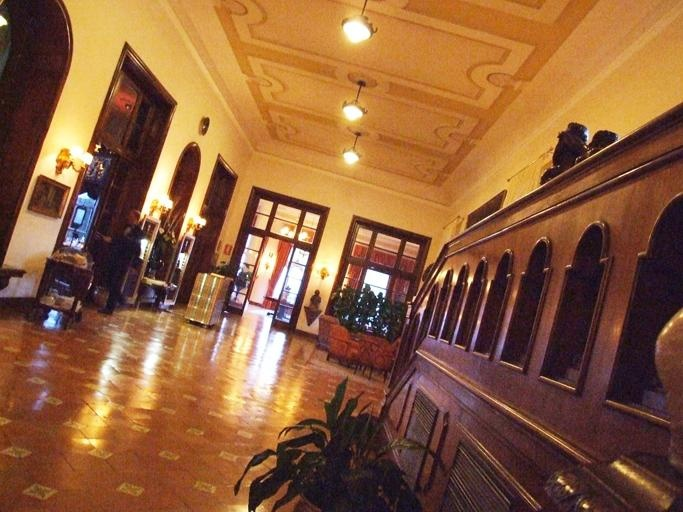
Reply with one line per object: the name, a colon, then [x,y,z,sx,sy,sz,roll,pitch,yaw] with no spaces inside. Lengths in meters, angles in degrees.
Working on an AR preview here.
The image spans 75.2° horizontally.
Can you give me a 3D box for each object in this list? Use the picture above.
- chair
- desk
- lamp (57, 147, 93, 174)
chair: [0.454,2.208,10.364,1.611,1.026,1.004,14,-5,7]
desk: [-4.022,0.499,6.367,0.650,0.860,0.718,14,-9,32]
lamp: [-3.985,-1.433,6.582,0.229,0.378,0.347,15,-5,22]
